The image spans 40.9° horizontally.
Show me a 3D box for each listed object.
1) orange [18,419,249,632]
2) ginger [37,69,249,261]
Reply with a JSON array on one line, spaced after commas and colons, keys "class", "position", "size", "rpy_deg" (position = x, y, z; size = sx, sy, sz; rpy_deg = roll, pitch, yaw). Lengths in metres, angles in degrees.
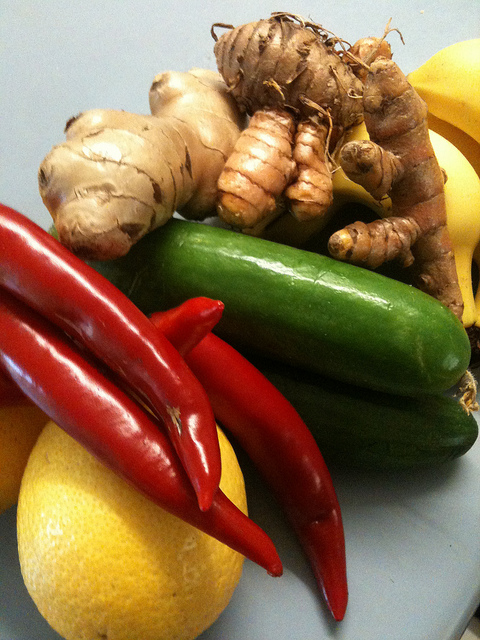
[{"class": "orange", "position": [-0.075, 0.145, 0.635], "size": [0.200, 0.238, 0.195], "rpy_deg": [6, -1, 8]}, {"class": "ginger", "position": [-0.071, -0.166, 0.722], "size": [0.133, 0.168, 0.276], "rpy_deg": [38, 25, 12]}]
